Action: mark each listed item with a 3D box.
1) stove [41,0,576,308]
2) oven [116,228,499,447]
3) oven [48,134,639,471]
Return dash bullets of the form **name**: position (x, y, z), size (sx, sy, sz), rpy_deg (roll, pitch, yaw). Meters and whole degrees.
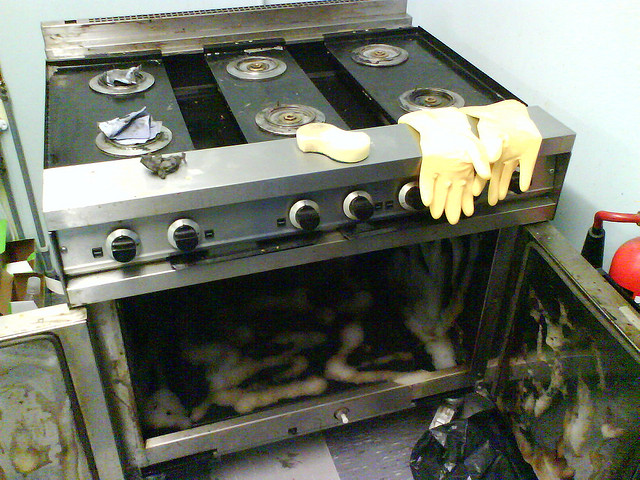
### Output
- **stove**: position (-0.124, -0.383, 1.623), size (1.353, 0.558, 1.067), rpy_deg (-10, 32, -11)
- **oven**: position (-0.140, 0.220, 1.714), size (1.256, 0.611, 0.603), rpy_deg (-8, 18, -27)
- **oven**: position (0.135, 0.248, 1.594), size (1.408, 0.842, 1.034), rpy_deg (-9, 50, -7)
